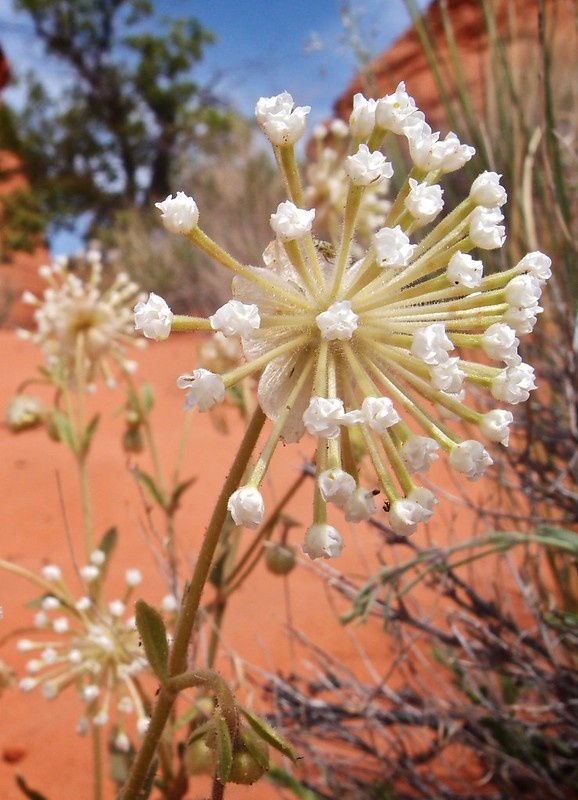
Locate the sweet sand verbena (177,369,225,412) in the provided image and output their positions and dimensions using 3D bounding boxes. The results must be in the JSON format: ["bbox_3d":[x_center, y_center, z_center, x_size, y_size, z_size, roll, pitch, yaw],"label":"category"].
[{"bbox_3d":[-0.077,-0.006,0.716,0.039,0.015,0.035,-7,-97,-2],"label":"sweet sand verbena"}]
